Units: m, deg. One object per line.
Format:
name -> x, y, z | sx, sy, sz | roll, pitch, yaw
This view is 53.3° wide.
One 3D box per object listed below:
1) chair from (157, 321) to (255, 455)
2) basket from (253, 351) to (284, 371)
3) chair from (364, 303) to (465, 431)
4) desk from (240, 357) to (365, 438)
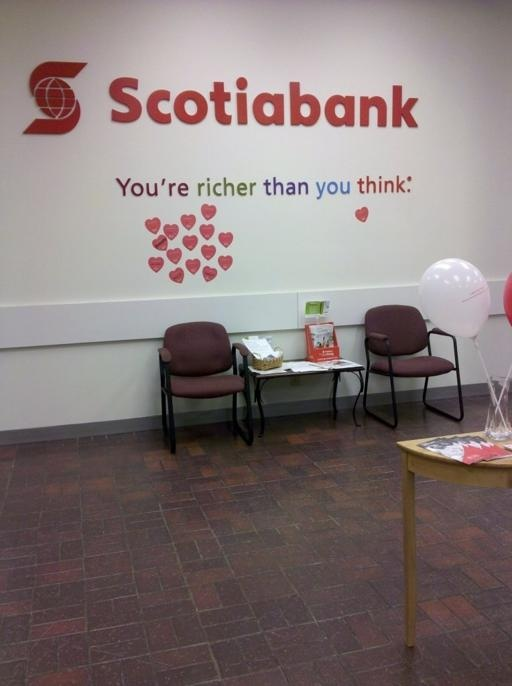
chair -> -0.383, 0.291, 3.801 | 0.679, 0.858, 0.732 | -5, 9, -12
basket -> 0.081, 0.139, 3.844 | 0.191, 0.109, 0.121 | -2, 3, -36
chair -> 1.265, 0.182, 4.116 | 0.678, 0.948, 0.700 | -2, 6, 6
desk -> 0.374, 0.414, 3.977 | 0.858, 0.551, 0.404 | -5, 11, -19
